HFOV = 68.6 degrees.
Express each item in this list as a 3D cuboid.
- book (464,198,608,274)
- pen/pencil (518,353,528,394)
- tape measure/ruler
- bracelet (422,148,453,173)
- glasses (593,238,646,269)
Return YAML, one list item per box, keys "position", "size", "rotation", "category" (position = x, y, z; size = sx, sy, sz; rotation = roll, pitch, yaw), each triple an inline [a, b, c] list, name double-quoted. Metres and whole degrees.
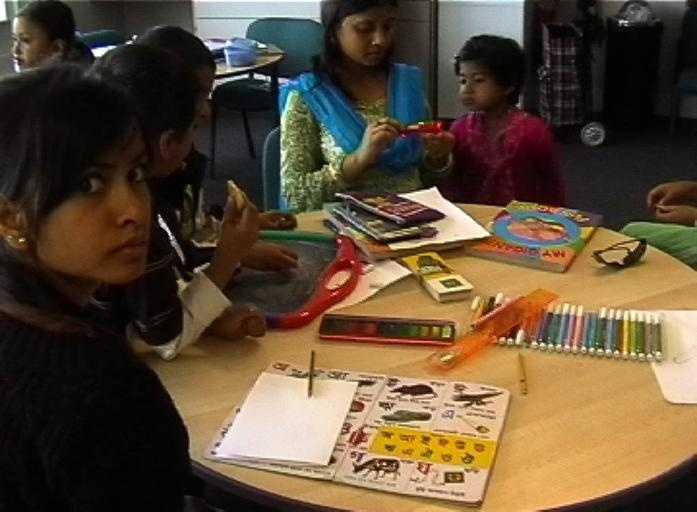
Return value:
- position: [0.534, -0.062, 1.468]
  size: [0.256, 0.033, 0.332]
  rotation: [15, 35, 28]
  category: "book"
- position: [0.315, 0.222, 0.945]
  size: [0.014, 0.007, 0.096]
  rotation: [-8, 24, 22]
  category: "pen/pencil"
- position: [0.304, 0.148, 1.089]
  size: [0.343, 0.034, 0.079]
  rotation: [-27, 27, -23]
  category: "tape measure/ruler"
- position: [0.339, -0.359, 1.970]
  size: [0.088, 0.084, 0.032]
  rotation: [6, 54, -4]
  category: "bracelet"
- position: [0.687, 0.010, 1.334]
  size: [0.124, 0.041, 0.093]
  rotation: [-7, 25, 21]
  category: "glasses"
